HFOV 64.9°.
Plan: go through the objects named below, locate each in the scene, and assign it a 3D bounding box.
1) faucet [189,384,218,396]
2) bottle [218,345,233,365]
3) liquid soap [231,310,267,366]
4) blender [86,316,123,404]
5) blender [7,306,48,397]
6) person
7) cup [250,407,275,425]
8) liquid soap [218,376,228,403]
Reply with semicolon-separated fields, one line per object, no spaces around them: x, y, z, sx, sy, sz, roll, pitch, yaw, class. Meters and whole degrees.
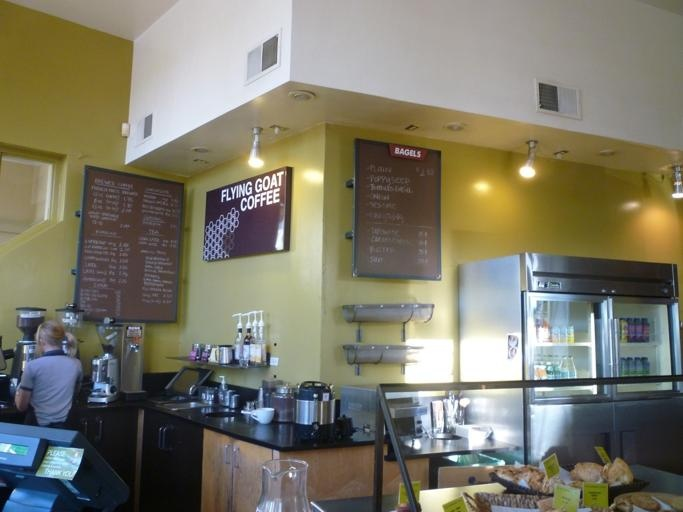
-1.185;1.178;4.739;0.336;0.103;0.203;-8;-13;44;faucet
-0.961;0.812;4.468;0.126;0.152;0.123;2;-10;-2;bottle
-0.748;0.674;4.424;0.107;0.471;0.388;3;-7;-41;liquid soap
-2.075;0.898;4.758;0.245;0.707;0.585;6;-10;-23;blender
-2.676;0.748;4.454;0.261;0.680;0.257;-14;-32;41;blender
-2.245;0.895;4.157;0.420;0.784;0.264;6;-11;-25;person
-0.563;1.136;3.891;0.118;0.091;0.156;3;-6;-25;cup
-1.021;1.136;4.642;0.075;0.222;0.328;4;-10;-12;liquid soap
